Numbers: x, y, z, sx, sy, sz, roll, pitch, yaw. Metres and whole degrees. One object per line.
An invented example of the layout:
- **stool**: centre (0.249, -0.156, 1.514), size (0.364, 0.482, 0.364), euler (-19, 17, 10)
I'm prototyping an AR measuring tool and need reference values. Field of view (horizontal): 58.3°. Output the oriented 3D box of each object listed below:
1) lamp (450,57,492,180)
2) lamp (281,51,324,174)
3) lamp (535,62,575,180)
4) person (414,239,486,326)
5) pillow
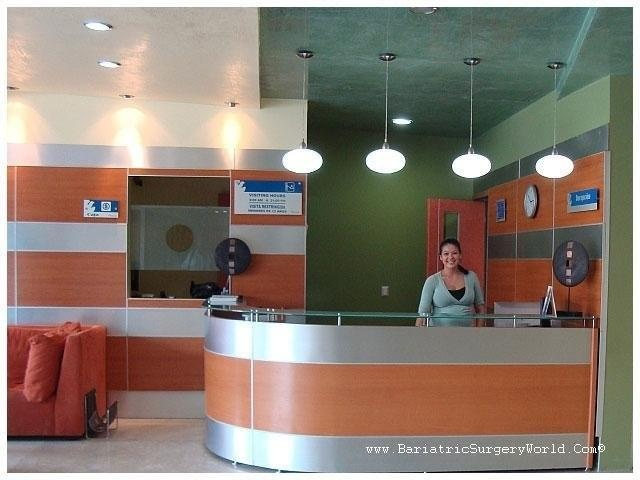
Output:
- **lamp**: centre (1.791, -1.196, 6.707), size (0.372, 1.245, 2.312), euler (2, -2, 15)
- **lamp**: centre (-0.173, -1.275, 6.011), size (0.368, 0.842, 0.876), euler (2, -2, -2)
- **lamp**: centre (2.496, -1.210, 6.034), size (0.336, 1.246, 1.048), euler (2, -2, 24)
- **person**: centre (1.261, 0.386, 5.507), size (0.605, 0.805, 0.860), euler (2, -2, 14)
- **pillow**: centre (-2.908, 1.431, 6.139), size (0.404, 0.714, 0.743), euler (-12, -13, -7)
